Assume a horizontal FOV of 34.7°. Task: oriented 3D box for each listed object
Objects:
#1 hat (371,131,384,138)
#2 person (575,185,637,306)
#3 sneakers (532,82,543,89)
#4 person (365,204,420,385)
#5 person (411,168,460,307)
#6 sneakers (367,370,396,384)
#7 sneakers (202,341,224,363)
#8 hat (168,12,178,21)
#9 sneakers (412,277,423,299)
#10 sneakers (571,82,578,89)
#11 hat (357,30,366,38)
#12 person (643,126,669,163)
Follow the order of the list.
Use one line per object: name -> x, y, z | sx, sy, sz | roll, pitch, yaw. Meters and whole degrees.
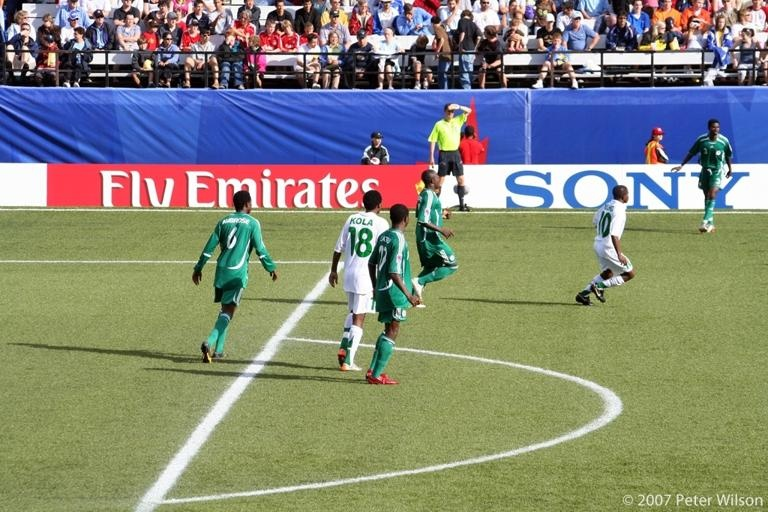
hat -> -0.211, -3.190, 32.193 | 0.283, 0.200, 0.393 | 0, 2, -28
person -> 3.933, -0.157, 21.538 | 0.890, 2.167, 0.936 | 3, 15, 11
sneakers -> 4.417, -4.959, 35.278 | 0.280, 0.198, 0.509 | 2, 15, 5
person -> 0.098, 0.573, 17.444 | 0.710, 2.541, 0.722 | 0, 14, -1
person -> 0.860, -0.241, 21.080 | 0.695, 2.427, 0.954 | 4, 15, 13
sneakers -> -0.038, 1.762, 17.515 | 0.481, 0.196, 0.174 | 2, 2, -13
sneakers -> -2.557, 1.493, 18.156 | 0.164, 0.229, 0.503 | -3, -17, 15
hat -> -6.185, -7.076, 35.884 | 0.212, 0.155, 0.288 | -3, -1, -36
sneakers -> 0.571, 0.555, 20.797 | 0.164, 0.375, 0.126 | -19, -8, 3
sneakers -> 5.497, -4.990, 35.303 | 0.198, 0.233, 0.679 | 3, 15, 7
hat -> -0.622, -6.347, 34.903 | 0.201, 0.228, 0.343 | -3, 15, -13
person -> 7.348, -2.967, 33.062 | 0.541, 0.956, 0.726 | 4, 15, 12
